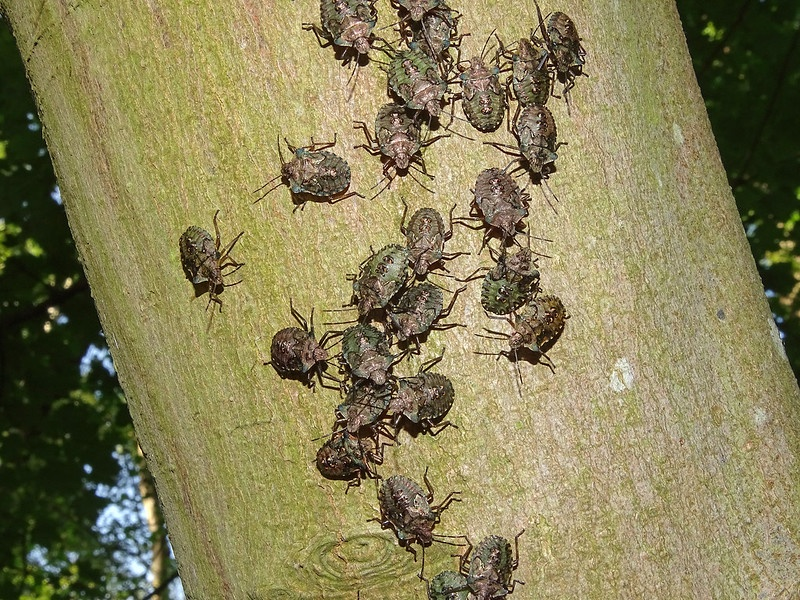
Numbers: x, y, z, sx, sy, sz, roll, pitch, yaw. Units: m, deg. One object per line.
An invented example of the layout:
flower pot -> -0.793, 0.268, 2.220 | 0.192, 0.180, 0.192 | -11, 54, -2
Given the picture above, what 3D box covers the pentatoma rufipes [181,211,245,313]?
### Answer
pentatoma rufipes -> -0.891, -0.179, 5.084 | 0.103, 0.373, 0.395 | -1, 53, -47
